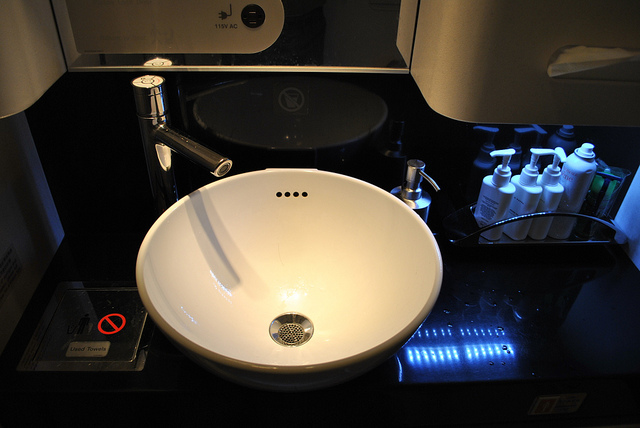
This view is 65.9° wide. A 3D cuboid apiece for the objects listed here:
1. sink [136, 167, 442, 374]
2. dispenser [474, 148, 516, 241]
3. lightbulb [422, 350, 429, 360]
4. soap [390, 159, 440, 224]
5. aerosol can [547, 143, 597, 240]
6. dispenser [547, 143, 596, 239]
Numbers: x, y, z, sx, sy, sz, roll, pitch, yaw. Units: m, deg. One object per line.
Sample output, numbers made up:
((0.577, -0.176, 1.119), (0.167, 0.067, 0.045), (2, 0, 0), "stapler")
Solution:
((-0.058, 0.142, 1.107), (0.631, 0.262, 0.515), (9, 37, 13), "sink")
((0.480, -0.058, 1.331), (0.071, 0.247, 0.094), (-31, 47, -30), "dispenser")
((0.235, 0.314, 1.100), (0.008, 0.003, 0.014), (-5, 44, -3), "lightbulb")
((0.241, -0.062, 1.272), (0.078, 0.171, 0.100), (-22, 44, -25), "soap")
((0.706, -0.054, 1.312), (0.063, 0.228, 0.062), (-2, 12, 1), "aerosol can")
((0.683, -0.057, 1.337), (0.069, 0.271, 0.068), (-21, 36, -35), "dispenser")
